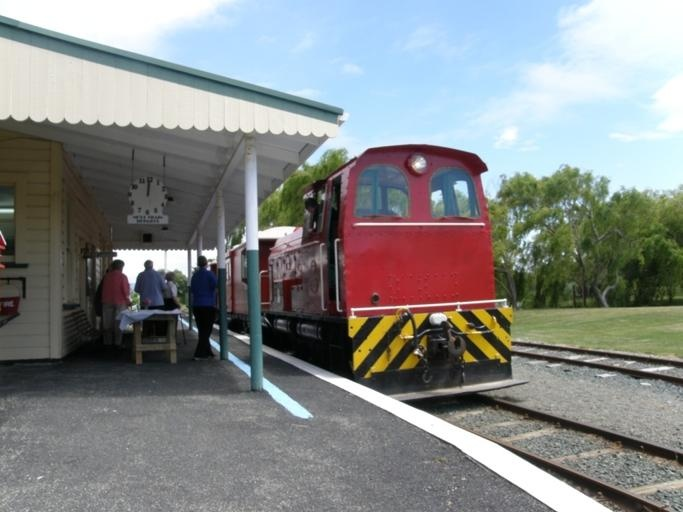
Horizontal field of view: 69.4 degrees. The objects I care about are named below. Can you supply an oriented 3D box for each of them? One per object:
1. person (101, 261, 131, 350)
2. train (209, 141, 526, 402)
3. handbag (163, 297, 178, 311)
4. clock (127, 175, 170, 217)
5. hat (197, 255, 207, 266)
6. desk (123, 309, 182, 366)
[{"bbox_3d":[-5.305,1.114,11.645,0.628,2.236,1.344,1,0,-27],"label":"person"},{"bbox_3d":[0.513,0.126,8.887,4.901,3.474,2.514,0,0,42],"label":"train"},{"bbox_3d":[-4.264,1.155,12.400,0.271,0.572,0.317,1,-1,13],"label":"handbag"},{"bbox_3d":[-4.092,-1.368,10.486,0.872,1.161,0.178,-1,-13,-3],"label":"clock"},{"bbox_3d":[-3.053,0.070,10.848,0.181,0.275,0.253,1,6,-11],"label":"hat"},{"bbox_3d":[-3.765,1.564,9.990,1.057,1.172,1.779,1,-8,-20],"label":"desk"}]
